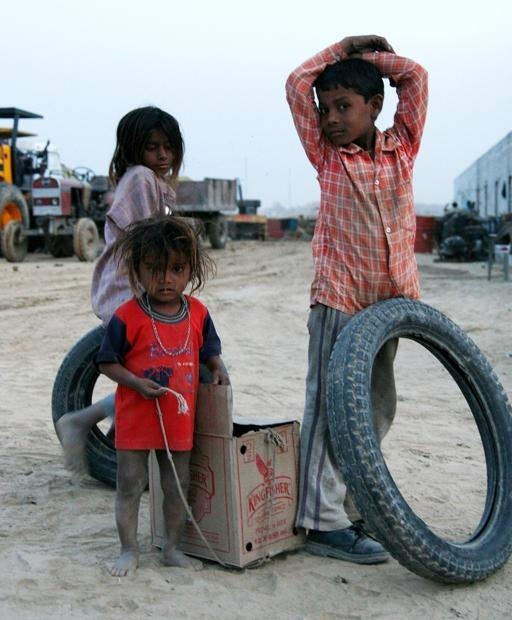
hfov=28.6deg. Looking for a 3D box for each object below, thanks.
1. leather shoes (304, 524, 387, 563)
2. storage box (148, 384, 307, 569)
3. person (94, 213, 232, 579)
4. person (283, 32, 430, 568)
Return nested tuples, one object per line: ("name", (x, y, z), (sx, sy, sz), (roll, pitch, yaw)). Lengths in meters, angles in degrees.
("leather shoes", (0.331, 0.864, 3.744), (0.302, 0.148, 0.119), (6, -6, 8))
("storage box", (-0.117, 0.572, 3.767), (0.424, 0.686, 0.503), (-6, 8, -41))
("person", (-0.319, 0.283, 3.519), (0.485, 1.234, 0.359), (-1, 3, -21))
("person", (0.358, -0.037, 3.671), (0.504, 1.922, 0.441), (1, 3, 9))
